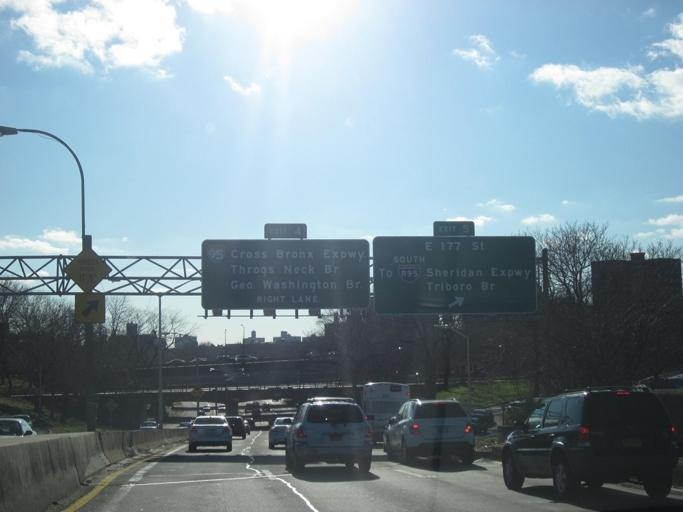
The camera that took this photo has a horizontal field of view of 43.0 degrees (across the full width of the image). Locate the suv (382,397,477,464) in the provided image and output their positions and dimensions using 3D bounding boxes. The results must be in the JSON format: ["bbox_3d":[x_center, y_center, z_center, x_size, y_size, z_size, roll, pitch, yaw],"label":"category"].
[{"bbox_3d":[3.277,6.759,33.587,2.713,2.911,5.415,3,-9,-5],"label":"suv"}]

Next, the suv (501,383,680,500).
[{"bbox_3d":[6.894,5.277,25.235,2.475,2.714,4.415,4,-8,-20],"label":"suv"}]

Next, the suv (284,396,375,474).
[{"bbox_3d":[-0.439,6.394,31.063,2.340,2.793,5.067,3,-11,-10],"label":"suv"}]
